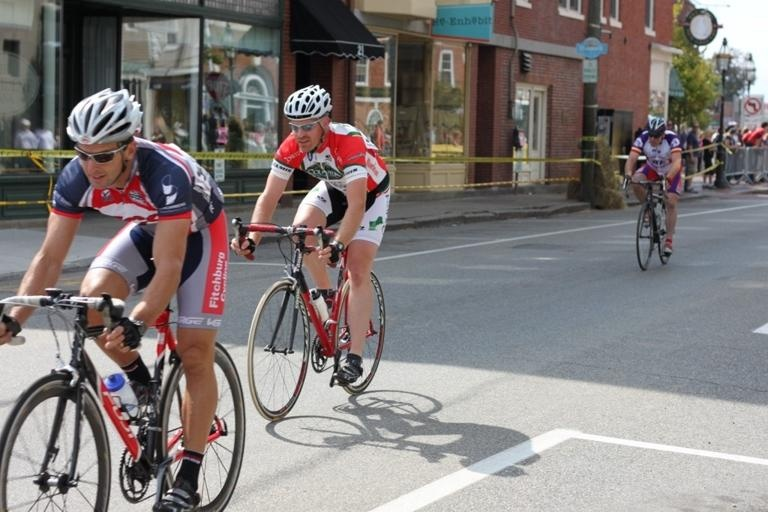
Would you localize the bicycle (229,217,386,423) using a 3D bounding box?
[{"bbox_3d":[-0.591,0.437,7.822,0.718,1.666,1.565,5,12,21],"label":"bicycle"}]

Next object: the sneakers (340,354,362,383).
[{"bbox_3d":[-0.272,0.932,7.673,0.176,0.248,0.280,2,11,6],"label":"sneakers"}]

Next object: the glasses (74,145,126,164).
[{"bbox_3d":[-1.695,-0.617,5.564,0.294,0.116,0.093,0,11,-4],"label":"glasses"}]

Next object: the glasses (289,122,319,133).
[{"bbox_3d":[-0.645,-1.027,7.410,0.226,0.095,0.128,4,12,11],"label":"glasses"}]

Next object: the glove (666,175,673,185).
[{"bbox_3d":[4.346,-1.158,14.082,0.114,0.132,0.146,0,-9,19],"label":"glove"}]

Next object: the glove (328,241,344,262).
[{"bbox_3d":[-0.381,-0.031,7.196,0.058,0.150,0.106,22,-8,-42],"label":"glove"}]

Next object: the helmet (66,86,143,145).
[{"bbox_3d":[-1.679,-0.856,5.629,0.395,0.226,0.571,3,24,9],"label":"helmet"}]

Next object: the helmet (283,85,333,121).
[{"bbox_3d":[-0.611,-1.228,7.522,0.381,0.278,0.540,-9,10,-15],"label":"helmet"}]

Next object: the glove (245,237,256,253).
[{"bbox_3d":[-1.026,-0.084,7.254,0.060,0.129,0.202,0,11,-4],"label":"glove"}]

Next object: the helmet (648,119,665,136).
[{"bbox_3d":[4.170,-1.967,14.173,0.213,0.243,0.298,-2,43,24],"label":"helmet"}]

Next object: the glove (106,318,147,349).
[{"bbox_3d":[-1.524,0.456,5.336,0.223,0.109,0.305,3,12,26],"label":"glove"}]
